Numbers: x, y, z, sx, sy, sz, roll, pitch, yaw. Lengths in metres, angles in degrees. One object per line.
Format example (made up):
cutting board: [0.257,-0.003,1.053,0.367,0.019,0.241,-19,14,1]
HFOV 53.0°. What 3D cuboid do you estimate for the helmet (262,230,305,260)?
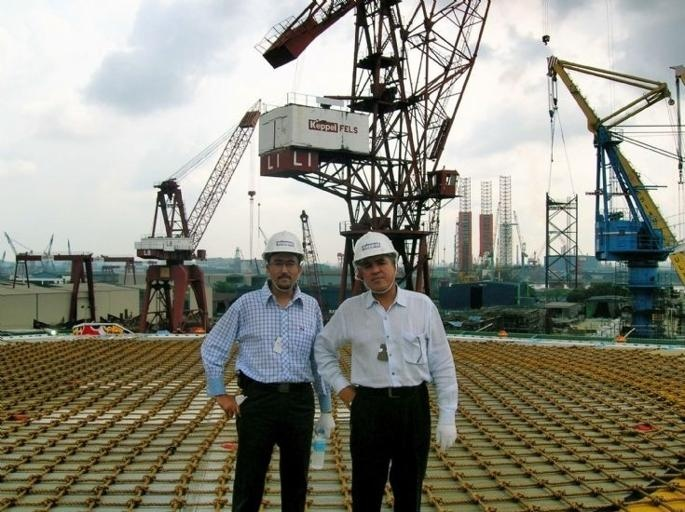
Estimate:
helmet: [-0.654,-0.095,7.517,0.470,0.350,0.652,2,-14,-5]
